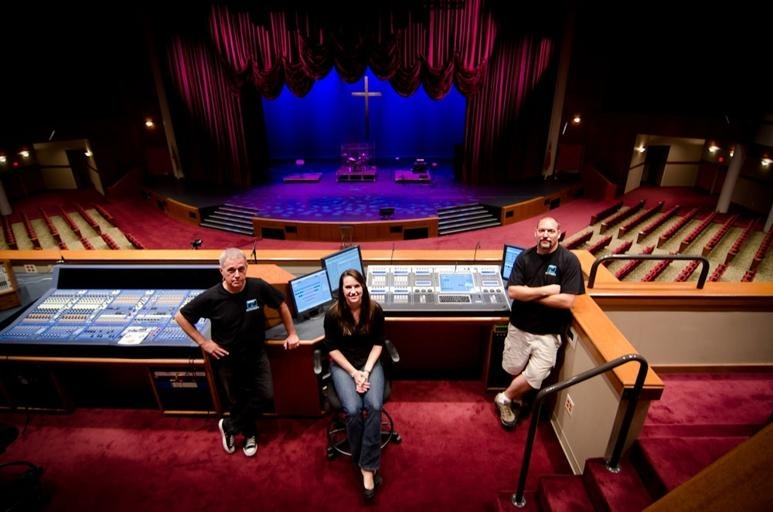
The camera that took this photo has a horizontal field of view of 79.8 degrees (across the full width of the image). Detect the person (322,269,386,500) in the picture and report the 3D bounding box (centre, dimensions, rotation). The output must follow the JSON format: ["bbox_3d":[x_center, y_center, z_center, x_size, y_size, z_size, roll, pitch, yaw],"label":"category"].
[{"bbox_3d":[-0.287,1.373,5.112,0.670,2.240,1.070,-5,27,-8],"label":"person"}]

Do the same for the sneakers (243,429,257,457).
[{"bbox_3d":[-1.583,2.227,5.456,0.112,0.127,0.318,-1,23,-10],"label":"sneakers"}]

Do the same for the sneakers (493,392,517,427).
[{"bbox_3d":[1.425,1.873,5.538,0.199,0.194,0.438,-15,47,-9],"label":"sneakers"}]

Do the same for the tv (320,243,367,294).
[{"bbox_3d":[-0.477,0.194,5.766,0.717,0.503,0.097,-17,0,43],"label":"tv"}]

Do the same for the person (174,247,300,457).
[{"bbox_3d":[-1.609,1.251,5.391,1.095,1.980,0.762,-18,31,-31],"label":"person"}]

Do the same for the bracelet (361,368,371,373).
[{"bbox_3d":[-0.208,1.308,5.161,0.082,0.062,0.068,0,25,2],"label":"bracelet"}]

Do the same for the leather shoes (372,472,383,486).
[{"bbox_3d":[-0.082,2.499,5.150,0.112,0.139,0.128,-1,-8,7],"label":"leather shoes"}]

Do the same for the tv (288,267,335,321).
[{"bbox_3d":[-0.865,0.488,5.672,0.569,0.520,0.198,-20,-13,20],"label":"tv"}]

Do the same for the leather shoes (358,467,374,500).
[{"bbox_3d":[-0.201,2.499,5.080,0.127,0.337,0.100,-8,-12,-7],"label":"leather shoes"}]

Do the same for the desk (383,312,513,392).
[{"bbox_3d":[0.738,1.153,6.245,1.547,1.442,0.954,0,25,1],"label":"desk"}]

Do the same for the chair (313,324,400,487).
[{"bbox_3d":[-0.372,1.505,5.421,1.038,1.594,1.000,-4,12,-14],"label":"chair"}]

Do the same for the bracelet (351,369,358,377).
[{"bbox_3d":[-0.339,1.321,5.145,0.052,0.025,0.068,-1,29,2],"label":"bracelet"}]

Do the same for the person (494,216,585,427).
[{"bbox_3d":[1.693,0.811,5.345,0.962,2.463,0.699,-23,34,-37],"label":"person"}]

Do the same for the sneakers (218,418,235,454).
[{"bbox_3d":[-1.830,2.136,5.404,0.159,0.466,0.178,-5,35,-12],"label":"sneakers"}]
